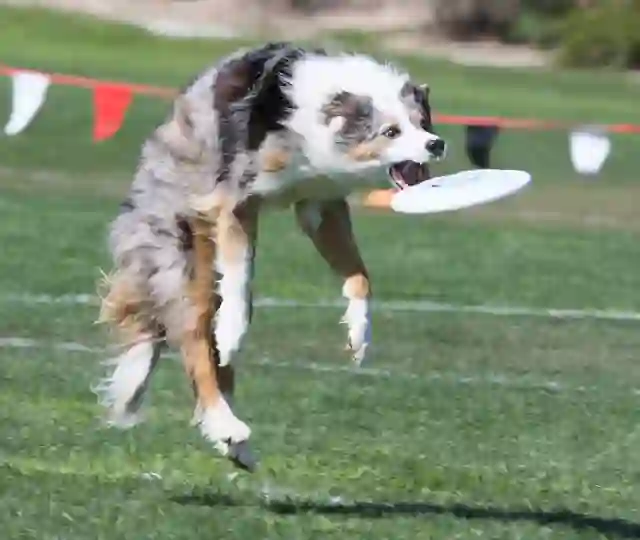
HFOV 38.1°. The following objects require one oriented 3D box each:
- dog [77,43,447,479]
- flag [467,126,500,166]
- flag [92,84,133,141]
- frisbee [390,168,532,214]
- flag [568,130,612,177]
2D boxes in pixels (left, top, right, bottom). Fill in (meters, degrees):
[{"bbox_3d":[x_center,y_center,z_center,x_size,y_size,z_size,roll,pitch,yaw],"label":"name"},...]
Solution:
[{"bbox_3d":[-0.327,-0.134,4.412,1.338,1.878,1.049,-17,34,-40],"label":"dog"},{"bbox_3d":[1.511,-1.201,8.919,0.265,0.372,0.420,9,22,5],"label":"flag"},{"bbox_3d":[-1.471,-1.108,6.552,0.247,0.416,0.277,1,25,-11],"label":"flag"},{"bbox_3d":[0.679,-0.383,4.330,0.560,0.151,0.649,7,17,15],"label":"frisbee"},{"bbox_3d":[2.534,-1.119,8.871,0.346,0.528,1.000,12,20,12],"label":"flag"}]
